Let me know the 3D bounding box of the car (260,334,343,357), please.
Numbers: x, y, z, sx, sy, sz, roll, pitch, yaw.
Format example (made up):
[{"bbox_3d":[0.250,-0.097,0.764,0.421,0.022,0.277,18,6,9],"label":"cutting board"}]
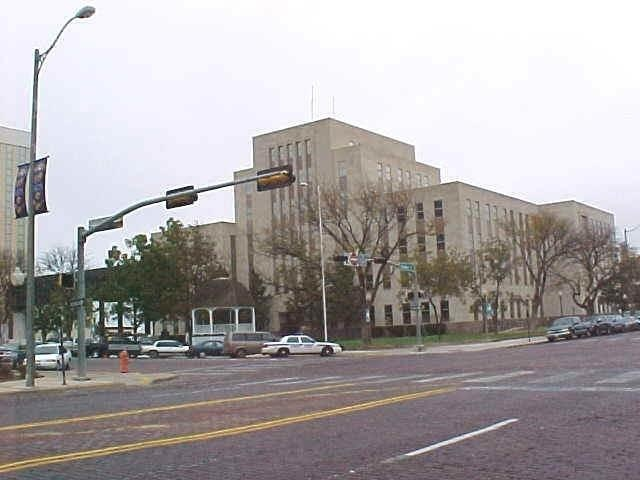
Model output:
[{"bbox_3d":[-1.392,7.138,48.950,4.924,1.327,1.613,-2,-5,1],"label":"car"}]

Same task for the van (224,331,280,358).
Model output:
[{"bbox_3d":[-5.352,7.468,51.988,2.690,1.922,2.864,7,-10,-37],"label":"van"}]

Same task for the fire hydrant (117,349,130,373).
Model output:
[{"bbox_3d":[-9.848,6.130,36.569,0.373,1.099,1.421,0,-5,-19],"label":"fire hydrant"}]

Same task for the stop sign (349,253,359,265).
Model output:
[{"bbox_3d":[2.326,1.293,50.392,0.375,0.828,1.628,-2,-5,19],"label":"stop sign"}]

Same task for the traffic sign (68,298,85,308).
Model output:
[{"bbox_3d":[-10.159,2.641,30.493,0.413,0.460,0.158,6,2,-10],"label":"traffic sign"}]

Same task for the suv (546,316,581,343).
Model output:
[{"bbox_3d":[18.359,6.770,55.084,1.352,1.666,3.774,-5,-6,44],"label":"suv"}]
